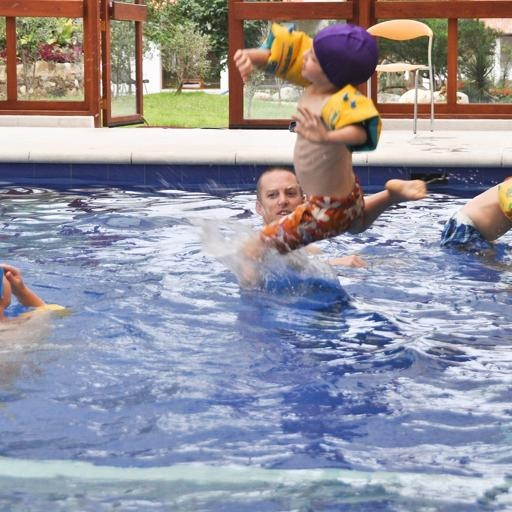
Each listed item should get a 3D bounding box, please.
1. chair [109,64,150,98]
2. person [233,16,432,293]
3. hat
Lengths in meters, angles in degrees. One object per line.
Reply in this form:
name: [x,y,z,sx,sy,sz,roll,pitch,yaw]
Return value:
chair: [-2.167,-2.813,11.560,0.445,0.250,0.520,-1,1,23]
person: [0.273,-0.405,2.864,0.582,1.086,0.720,-5,8,-25]
hat: [0.337,-0.741,2.669,0.230,0.229,0.098,-5,8,-27]
